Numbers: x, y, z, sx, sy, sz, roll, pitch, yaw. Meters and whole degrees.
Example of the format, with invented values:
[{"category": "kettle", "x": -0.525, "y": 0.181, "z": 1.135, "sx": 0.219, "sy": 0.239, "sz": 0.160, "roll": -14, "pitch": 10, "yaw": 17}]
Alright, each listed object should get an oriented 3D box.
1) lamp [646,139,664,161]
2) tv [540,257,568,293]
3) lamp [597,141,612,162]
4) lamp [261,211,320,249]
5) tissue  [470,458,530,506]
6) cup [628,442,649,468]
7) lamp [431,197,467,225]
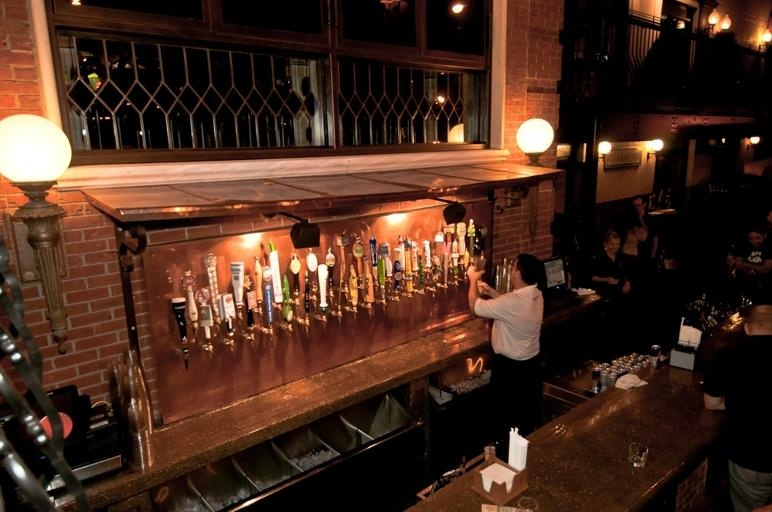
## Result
[{"category": "lamp", "x": 6.213, "y": -2.477, "z": 12.487, "sx": 0.355, "sy": 0.431, "sz": 0.620, "roll": 3, "pitch": 14, "yaw": 38}, {"category": "tv", "x": 2.273, "y": 0.264, "z": 7.353, "sx": 0.045, "sy": 0.310, "sz": 0.437, "roll": 5, "pitch": 14, "yaw": 45}, {"category": "lamp", "x": 4.326, "y": -2.072, "z": 10.641, "sx": 0.219, "sy": 0.418, "sz": 1.684, "roll": -1, "pitch": 11, "yaw": 23}, {"category": "lamp", "x": -0.913, "y": -0.216, "z": 5.172, "sx": 0.425, "sy": 0.424, "sz": 0.621, "roll": -10, "pitch": 11, "yaw": -18}, {"category": "tissue ", "x": 0.906, "y": 1.824, "z": 4.442, "sx": 0.318, "sy": 0.136, "sz": 0.315, "roll": -10, "pitch": 15, "yaw": -41}, {"category": "cup", "x": 2.233, "y": 1.738, "z": 4.726, "sx": 0.180, "sy": 0.174, "sz": 0.149, "roll": 3, "pitch": 1, "yaw": -24}, {"category": "lamp", "x": 0.698, "y": -0.505, "z": 6.113, "sx": 0.442, "sy": 0.342, "sz": 0.263, "roll": 13, "pitch": 20, "yaw": 40}]
